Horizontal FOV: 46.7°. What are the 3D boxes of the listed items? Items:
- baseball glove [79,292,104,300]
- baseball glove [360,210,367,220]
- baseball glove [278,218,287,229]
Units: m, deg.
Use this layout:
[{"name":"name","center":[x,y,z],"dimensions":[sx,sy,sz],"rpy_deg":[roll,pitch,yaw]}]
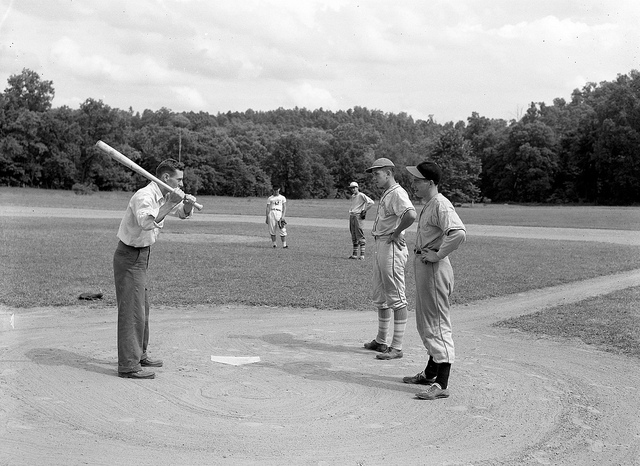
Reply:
[{"name":"baseball glove","center":[-5.081,1.440,16.519],"dimensions":[0.268,0.090,0.225],"rpy_deg":[5,6,9]},{"name":"baseball glove","center":[1.470,-0.580,24.300],"dimensions":[0.132,0.275,0.196],"rpy_deg":[15,10,-5]},{"name":"baseball glove","center":[-1.341,-0.284,26.910],"dimensions":[0.249,0.386,0.651],"rpy_deg":[0,9,-4]}]
